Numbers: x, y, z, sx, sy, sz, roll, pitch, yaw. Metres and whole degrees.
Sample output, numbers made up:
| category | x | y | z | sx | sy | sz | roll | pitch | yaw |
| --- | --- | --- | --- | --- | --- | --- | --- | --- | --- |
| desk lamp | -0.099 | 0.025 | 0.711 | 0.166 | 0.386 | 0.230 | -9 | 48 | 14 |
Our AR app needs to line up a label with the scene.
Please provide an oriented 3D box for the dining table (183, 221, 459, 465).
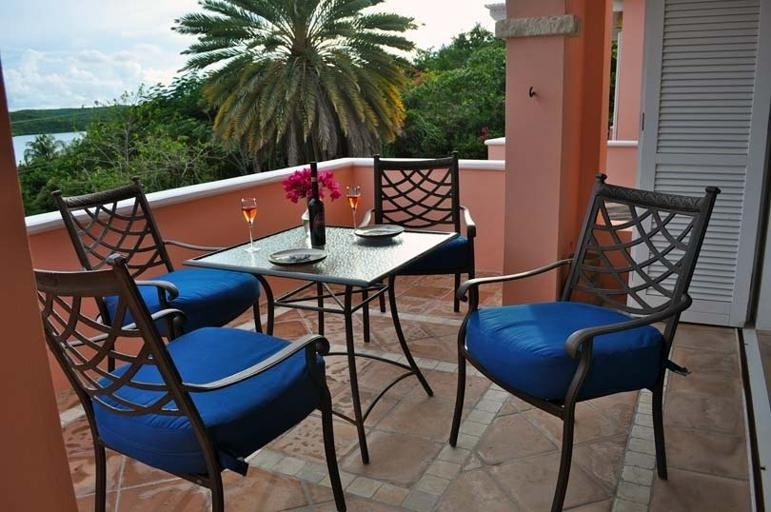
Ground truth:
| category | x | y | z | sx | sy | sz | roll | pitch | yaw |
| --- | --- | --- | --- | --- | --- | --- | --- | --- | --- |
| dining table | -0.242 | 0.470 | 3.175 | 1.214 | 1.135 | 1.275 | 8 | 21 | 33 |
